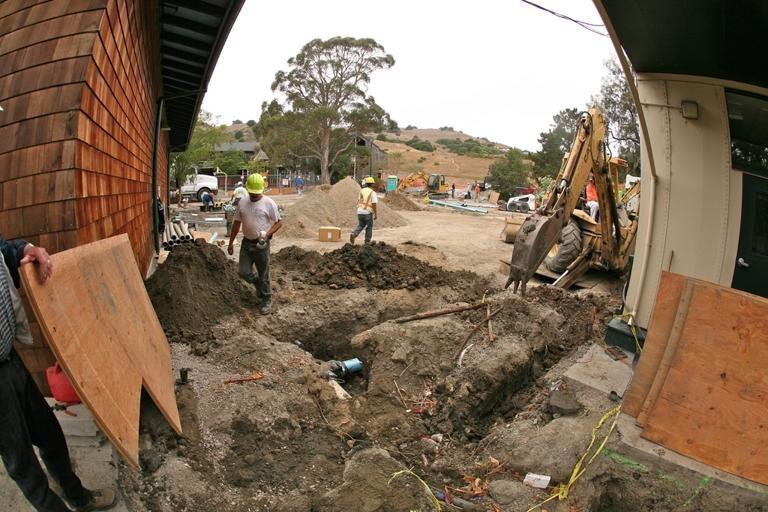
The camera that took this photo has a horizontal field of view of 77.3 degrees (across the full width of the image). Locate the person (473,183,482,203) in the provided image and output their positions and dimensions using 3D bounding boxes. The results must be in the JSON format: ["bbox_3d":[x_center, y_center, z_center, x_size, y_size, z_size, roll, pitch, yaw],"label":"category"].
[{"bbox_3d":[6.253,-4.312,32.625,0.542,1.178,1.956,5,9,10],"label":"person"}]

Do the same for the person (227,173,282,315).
[{"bbox_3d":[-1.916,-0.213,7.097,0.742,1.992,0.983,0,9,-17],"label":"person"}]

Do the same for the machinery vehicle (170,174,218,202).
[{"bbox_3d":[-10.479,-4.062,26.212,2.571,1.555,1.801,-2,6,-18],"label":"machinery vehicle"}]

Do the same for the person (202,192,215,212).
[{"bbox_3d":[-7.922,-2.442,21.611,0.464,0.773,1.747,0,10,-19],"label":"person"}]

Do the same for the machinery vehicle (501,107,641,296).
[{"bbox_3d":[3.224,-0.686,7.713,1.329,3.022,4.172,8,10,29],"label":"machinery vehicle"}]

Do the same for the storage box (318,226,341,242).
[{"bbox_3d":[-1.496,-0.581,13.044,0.429,0.297,0.452,1,9,-3],"label":"storage box"}]

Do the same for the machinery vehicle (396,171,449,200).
[{"bbox_3d":[2.801,-4.867,33.077,3.474,1.796,2.344,0,7,-27],"label":"machinery vehicle"}]

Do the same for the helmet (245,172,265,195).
[{"bbox_3d":[-1.778,-0.994,6.632,0.223,0.274,0.287,0,9,-19],"label":"helmet"}]
